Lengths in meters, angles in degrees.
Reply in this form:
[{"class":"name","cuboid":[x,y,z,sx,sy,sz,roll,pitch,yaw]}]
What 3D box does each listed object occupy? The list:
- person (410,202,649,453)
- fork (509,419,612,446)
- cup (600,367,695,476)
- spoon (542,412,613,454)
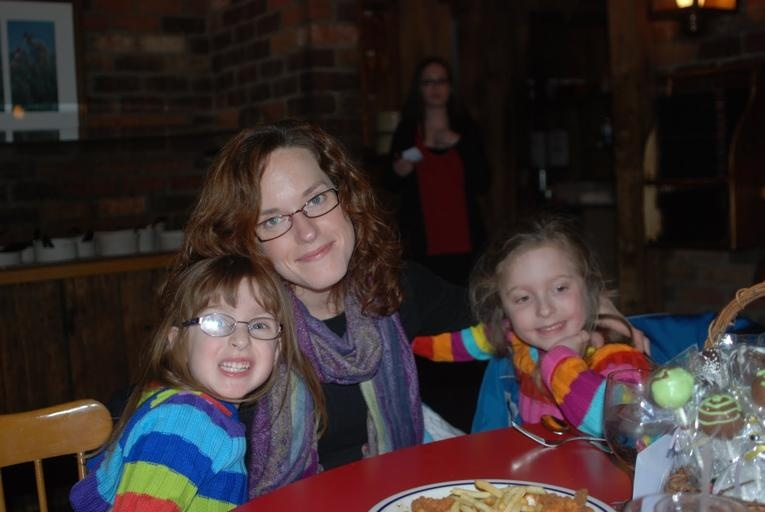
[{"class":"person","cuboid":[0.465,0.250,2.194,0.701,0.483,0.556,-2,-16,14]},{"class":"fork","cuboid":[0.447,0.440,1.760,0.238,0.040,0.037,12,11,7]},{"class":"cup","cuboid":[0.568,0.339,1.546,0.200,0.271,0.207,0,-2,0]},{"class":"spoon","cuboid":[0.473,0.443,1.752,0.188,0.029,0.057,20,31,38]}]
